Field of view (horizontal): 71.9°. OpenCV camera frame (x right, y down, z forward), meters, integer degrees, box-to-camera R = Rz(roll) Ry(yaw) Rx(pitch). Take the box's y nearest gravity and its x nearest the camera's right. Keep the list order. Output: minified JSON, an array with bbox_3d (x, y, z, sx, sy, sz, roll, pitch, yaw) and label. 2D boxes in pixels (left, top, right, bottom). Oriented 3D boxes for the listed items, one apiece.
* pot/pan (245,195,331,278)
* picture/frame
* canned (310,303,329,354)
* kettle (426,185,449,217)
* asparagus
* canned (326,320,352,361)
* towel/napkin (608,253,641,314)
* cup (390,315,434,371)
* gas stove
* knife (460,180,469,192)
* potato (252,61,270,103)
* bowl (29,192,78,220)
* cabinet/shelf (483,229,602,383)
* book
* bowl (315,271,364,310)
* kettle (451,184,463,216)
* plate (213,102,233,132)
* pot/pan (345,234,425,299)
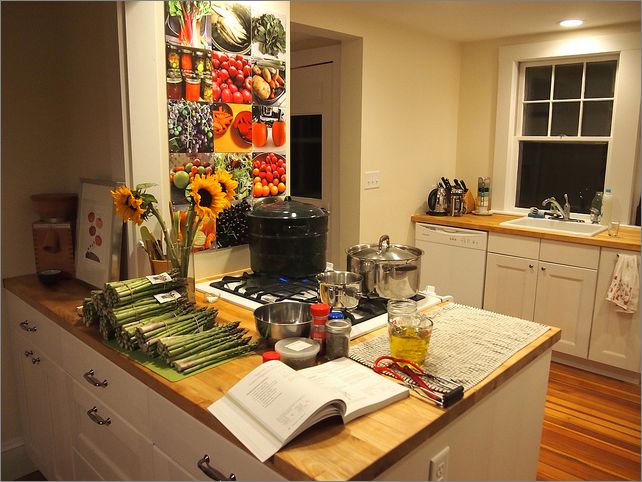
[{"bbox_3d":[-0.161,-0.017,2.418,0.404,0.378,0.396,2,12,5],"label":"pot/pan"},{"bbox_3d":[-1.161,-0.037,2.304,0.450,0.566,0.023,10,5,38],"label":"picture/frame"},{"bbox_3d":[0.002,0.330,1.653,0.059,0.186,0.064,-10,16,-33],"label":"canned"},{"bbox_3d":[1.122,-0.397,4.254,0.275,0.344,0.260,4,8,39],"label":"kettle"},{"bbox_3d":[-0.613,0.316,1.712,0.515,0.178,0.375,18,19,39],"label":"asparagus"},{"bbox_3d":[0.063,0.375,1.641,0.095,0.146,0.093,9,14,33],"label":"canned"},{"bbox_3d":[2.234,0.324,3.245,0.195,0.452,0.085,9,17,35],"label":"towel/napkin"},{"bbox_3d":[0.298,0.348,1.600,0.162,0.190,0.170,0,10,0],"label":"cup"},{"bbox_3d":[-0.210,0.271,2.192,0.594,0.065,0.350,12,16,43],"label":"gas stove"},{"bbox_3d":[1.424,-0.555,4.392,0.035,0.156,0.043,12,-36,-33],"label":"knife"},{"bbox_3d":[-0.337,-0.921,2.524,0.083,0.166,0.124,2,19,35],"label":"potato"},{"bbox_3d":[-1.466,-0.205,2.422,0.179,0.108,0.182,1,8,0],"label":"bowl"},{"bbox_3d":[1.942,0.339,3.882,0.859,1.163,0.604,10,30,34],"label":"cabinet/shelf"},{"bbox_3d":[-0.099,0.479,1.332,0.406,0.077,0.272,-14,25,-38],"label":"book"},{"bbox_3d":[0.086,0.234,1.982,0.204,0.175,0.236,-1,14,2],"label":"bowl"},{"bbox_3d":[1.335,-0.399,4.317,0.100,0.284,0.233,11,19,42],"label":"kettle"},{"bbox_3d":[-0.527,-0.672,2.388,0.133,0.136,0.046,-11,15,-43],"label":"plate"},{"bbox_3d":[0.289,0.118,2.060,0.350,0.315,0.247,2,14,13],"label":"pot/pan"}]
